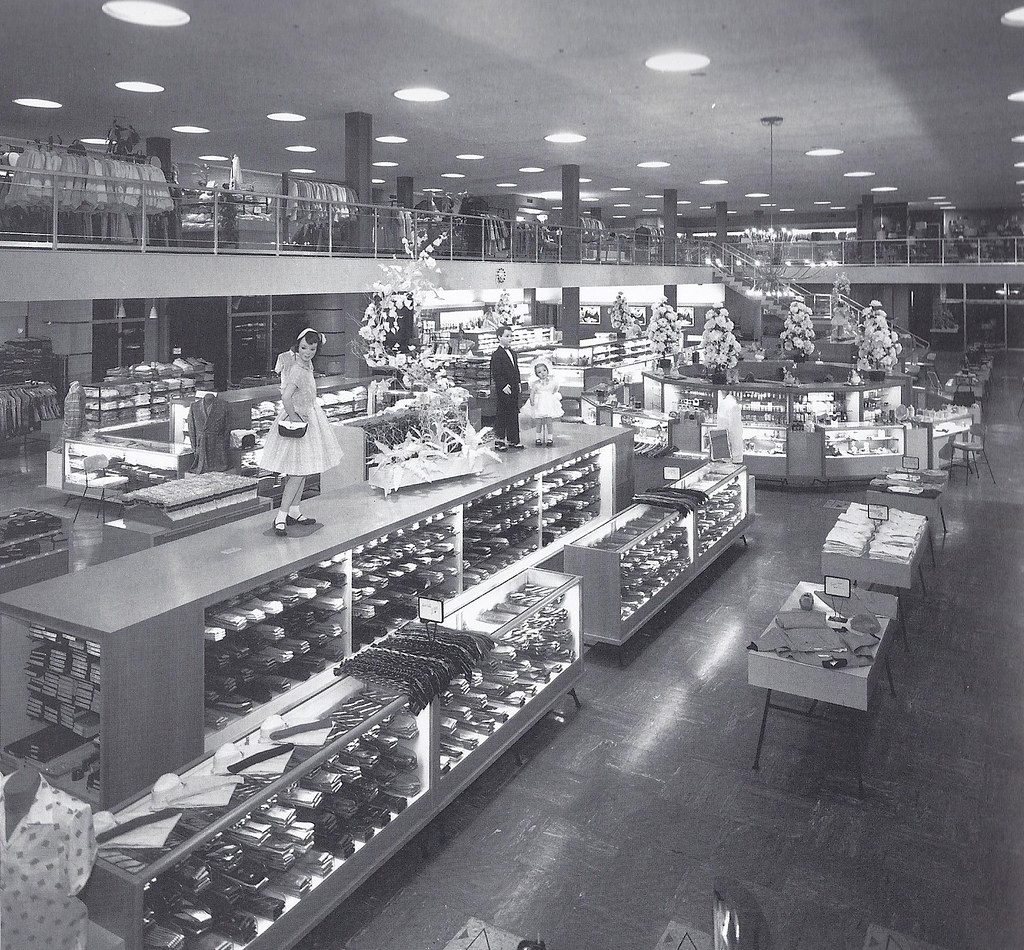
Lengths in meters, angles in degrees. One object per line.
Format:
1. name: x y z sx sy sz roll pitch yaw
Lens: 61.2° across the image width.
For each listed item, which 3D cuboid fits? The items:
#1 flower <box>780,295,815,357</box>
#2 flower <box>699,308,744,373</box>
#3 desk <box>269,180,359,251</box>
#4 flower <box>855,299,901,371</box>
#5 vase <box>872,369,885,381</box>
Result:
1. flower: 5.775 -2.946 17.502 0.651 1.238 2.117 3 12 17
2. flower: 3.721 -2.591 15.722 0.589 1.019 0.610 1 -12 13
3. desk: -2.900 -3.928 12.973 1.107 1.252 3.090 -2 12 -12
4. flower: 6.689 -2.704 15.996 0.595 1.026 0.684 -13 18 -16
5. vase: 6.419 -1.752 15.171 0.223 0.159 0.233 1 11 8
